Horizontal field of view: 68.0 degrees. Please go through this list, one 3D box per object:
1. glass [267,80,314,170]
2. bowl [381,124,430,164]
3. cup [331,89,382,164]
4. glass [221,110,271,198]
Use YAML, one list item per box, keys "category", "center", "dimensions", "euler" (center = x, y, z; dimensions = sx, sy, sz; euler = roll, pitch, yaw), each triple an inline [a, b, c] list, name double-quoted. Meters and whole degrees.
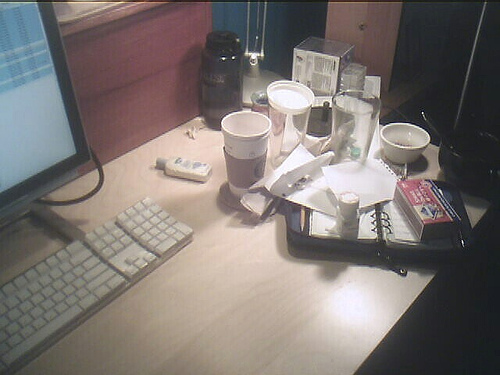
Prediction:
- category: "glass"
  center: [0.098, -0.165, 1.002]
  dimensions: [0.122, 0.198, 0.140]
  euler: [8, 40, 7]
- category: "bowl"
  center: [0.430, -0.105, 1.043]
  dimensions: [0.109, 0.060, 0.112]
  euler: [-7, 9, 1]
- category: "cup"
  center: [0.265, -0.155, 0.975]
  dimensions: [0.119, 0.157, 0.125]
  euler: [1, 40, -1]
- category: "glass"
  center: [-0.012, -0.065, 0.922]
  dimensions: [0.113, 0.180, 0.120]
  euler: [7, 27, 12]
